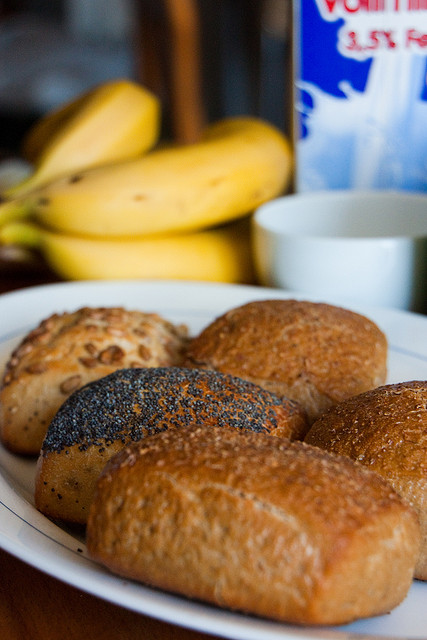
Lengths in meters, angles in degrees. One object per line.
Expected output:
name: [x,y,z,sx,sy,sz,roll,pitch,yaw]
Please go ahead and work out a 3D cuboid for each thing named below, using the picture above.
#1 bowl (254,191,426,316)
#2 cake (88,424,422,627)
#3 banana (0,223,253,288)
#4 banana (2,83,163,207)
bowl: [0.150,-0.086,0.691,0.170,0.104,0.179,1,8,0]
cake: [0.011,0.083,0.251,0.115,0.053,0.085,8,-5,36]
banana: [-0.111,-0.089,0.799,0.342,0.103,0.073,1,-11,-4]
banana: [-0.165,-0.214,0.812,0.222,0.057,0.126,-32,33,-12]
